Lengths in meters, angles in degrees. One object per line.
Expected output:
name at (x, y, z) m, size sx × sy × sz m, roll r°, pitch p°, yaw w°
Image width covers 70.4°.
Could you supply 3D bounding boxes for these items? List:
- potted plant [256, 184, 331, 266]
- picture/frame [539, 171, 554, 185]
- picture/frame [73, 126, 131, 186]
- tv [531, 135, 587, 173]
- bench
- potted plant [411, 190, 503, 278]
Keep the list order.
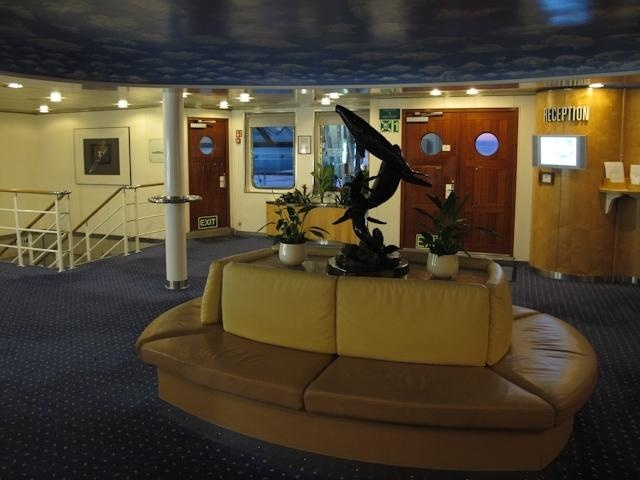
potted plant at (-0.193, -0.040, 4.151) m, size 0.638 × 0.517 × 0.441 m, roll -4°, pitch -10°, yaw -27°
picture/frame at (3.665, -1.013, 7.306) m, size 0.033 × 0.204 × 0.224 m, roll 2°, pitch 2°, yaw -32°
picture/frame at (-5.196, -2.068, 10.907) m, size 1.724 × 1.573 × 0.263 m, roll 3°, pitch 5°, yaw 20°
tv at (3.751, -1.354, 7.041) m, size 0.630 × 0.439 × 0.086 m, roll 6°, pitch 11°, yaw 41°
bench at (0.369, 0.817, 3.460) m, size 3.129 × 1.203 × 1.377 m, roll 3°, pitch 9°, yaw 23°
potted plant at (1.094, -0.052, 3.752) m, size 0.684 × 0.727 × 0.562 m, roll 5°, pitch 6°, yaw -9°
